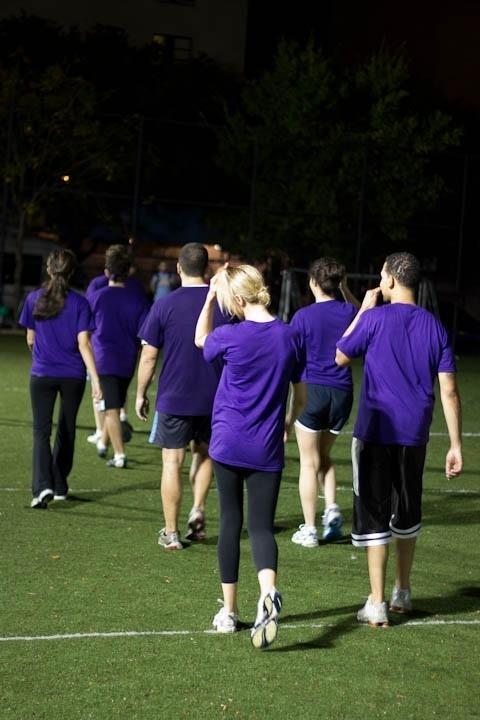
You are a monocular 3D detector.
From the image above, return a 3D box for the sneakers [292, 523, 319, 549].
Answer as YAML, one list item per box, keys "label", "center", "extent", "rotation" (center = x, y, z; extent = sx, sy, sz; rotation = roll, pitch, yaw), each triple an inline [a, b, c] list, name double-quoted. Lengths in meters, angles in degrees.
- label: "sneakers"
  center: [0.417, 1.110, 5.557]
  extent: [0.092, 0.096, 0.221]
  rotation: [1, 0, -11]

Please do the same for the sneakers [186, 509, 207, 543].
- label: "sneakers"
  center: [-0.267, 1.034, 5.502]
  extent: [0.095, 0.105, 0.252]
  rotation: [3, -39, -3]

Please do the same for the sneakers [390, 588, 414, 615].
- label: "sneakers"
  center: [0.784, 1.175, 4.316]
  extent: [0.141, 0.132, 0.097]
  rotation: [-2, 1, 7]

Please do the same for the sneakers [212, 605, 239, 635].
- label: "sneakers"
  center: [-0.059, 1.163, 3.929]
  extent: [0.068, 0.075, 0.157]
  rotation: [2, 1, -5]

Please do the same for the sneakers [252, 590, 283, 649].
- label: "sneakers"
  center: [0.102, 1.053, 3.527]
  extent: [0.100, 0.239, 0.112]
  rotation: [14, 2, 4]

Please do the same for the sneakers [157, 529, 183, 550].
- label: "sneakers"
  center: [-0.423, 1.092, 5.369]
  extent: [0.076, 0.076, 0.184]
  rotation: [2, 1, -13]

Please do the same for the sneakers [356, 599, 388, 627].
- label: "sneakers"
  center: [0.622, 1.178, 4.111]
  extent: [0.083, 0.071, 0.176]
  rotation: [1, -2, -4]

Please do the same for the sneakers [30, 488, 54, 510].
- label: "sneakers"
  center: [-1.371, 0.990, 6.204]
  extent: [0.089, 0.097, 0.213]
  rotation: [20, -43, -24]
